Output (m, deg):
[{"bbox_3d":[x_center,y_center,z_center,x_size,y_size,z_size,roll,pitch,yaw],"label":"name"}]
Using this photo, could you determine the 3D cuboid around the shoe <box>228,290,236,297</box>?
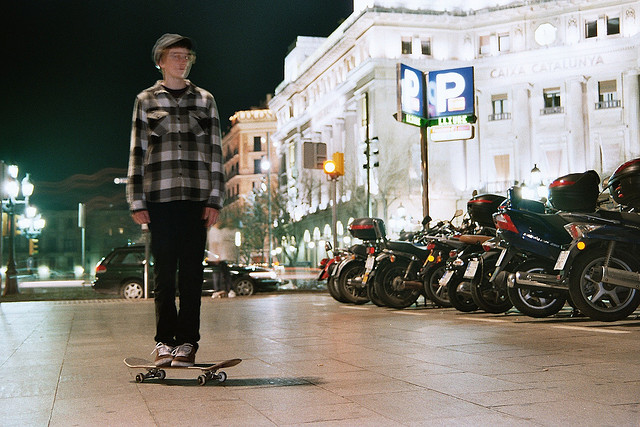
[{"bbox_3d":[-2.916,2.698,21.485,0.212,0.199,0.182,-1,5,-3],"label":"shoe"}]

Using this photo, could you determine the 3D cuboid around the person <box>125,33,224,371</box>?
[{"bbox_3d":[-1.447,-0.147,6.541,0.966,3.468,0.402,0,-4,-17],"label":"person"}]

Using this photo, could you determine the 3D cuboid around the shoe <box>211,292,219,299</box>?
[{"bbox_3d":[-3.445,2.720,21.290,0.243,0.148,0.606,-1,-4,-11],"label":"shoe"}]

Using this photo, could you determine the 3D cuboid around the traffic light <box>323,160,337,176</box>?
[{"bbox_3d":[0.338,-1.535,21.695,0.465,0.520,0.594,-2,-4,1],"label":"traffic light"}]

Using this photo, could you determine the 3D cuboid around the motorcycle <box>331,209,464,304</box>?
[{"bbox_3d":[2.173,1.034,15.227,3.173,1.810,1.796,-2,-1,-24],"label":"motorcycle"}]

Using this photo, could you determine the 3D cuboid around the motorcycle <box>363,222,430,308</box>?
[{"bbox_3d":[1.595,1.231,13.586,0.977,1.586,1.753,0,-4,-26],"label":"motorcycle"}]

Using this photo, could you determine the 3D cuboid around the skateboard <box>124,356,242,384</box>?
[{"bbox_3d":[-1.368,1.580,6.390,0.966,0.175,0.281,1,0,15],"label":"skateboard"}]
